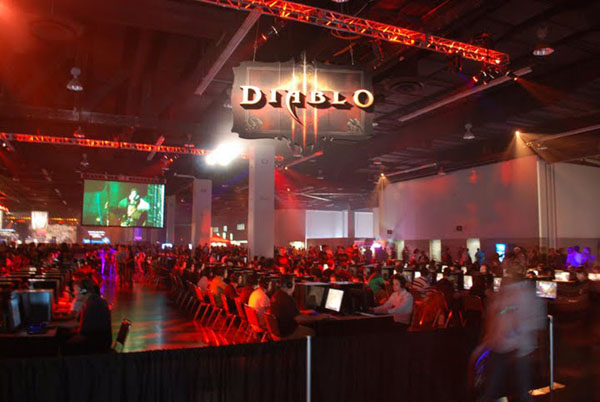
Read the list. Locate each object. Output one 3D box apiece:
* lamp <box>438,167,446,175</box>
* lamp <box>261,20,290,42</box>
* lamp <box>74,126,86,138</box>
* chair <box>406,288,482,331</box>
[{"bbox_3d":[6.276,-1.326,21.251,0.336,0.348,0.332,-6,6,-25],"label":"lamp"},{"bbox_3d":[-0.568,-4.087,11.545,0.491,0.472,0.862,1,13,-31],"label":"lamp"},{"bbox_3d":[-8.415,-2.643,18.242,0.231,0.374,0.447,-22,1,17],"label":"lamp"},{"bbox_3d":[3.430,2.570,11.383,0.456,0.629,1.279,-10,-5,-36],"label":"chair"}]
